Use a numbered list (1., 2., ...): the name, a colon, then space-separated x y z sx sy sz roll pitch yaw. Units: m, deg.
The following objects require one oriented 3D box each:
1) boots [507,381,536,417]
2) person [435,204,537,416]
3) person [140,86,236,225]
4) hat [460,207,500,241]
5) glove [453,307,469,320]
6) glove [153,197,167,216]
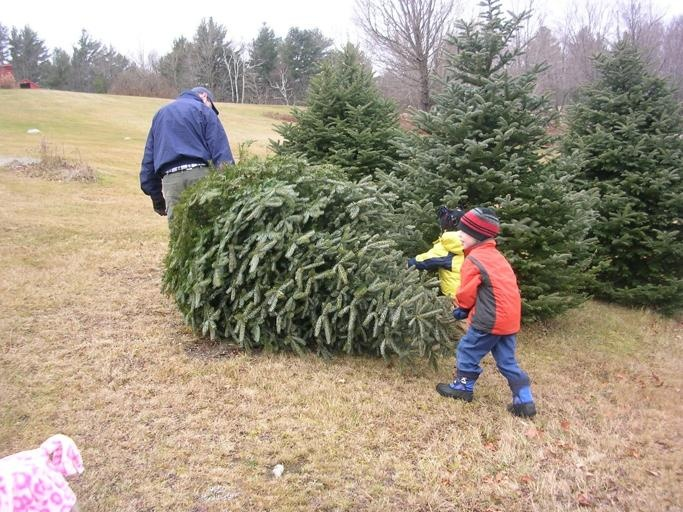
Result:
1. boots: 1.883 1.522 5.674 0.182 0.387 0.376 -1 3 -12
2. person: 1.607 0.550 5.758 0.974 2.051 0.578 8 14 20
3. person: -2.101 -1.373 7.350 1.368 1.802 0.884 16 19 42
4. hat: 1.495 -0.355 5.846 0.350 0.293 0.355 23 9 -17
5. glove: 1.312 0.627 5.886 0.132 0.131 0.129 12 9 34
6. glove: -2.661 -0.729 7.864 0.210 0.286 0.242 -19 8 -24
